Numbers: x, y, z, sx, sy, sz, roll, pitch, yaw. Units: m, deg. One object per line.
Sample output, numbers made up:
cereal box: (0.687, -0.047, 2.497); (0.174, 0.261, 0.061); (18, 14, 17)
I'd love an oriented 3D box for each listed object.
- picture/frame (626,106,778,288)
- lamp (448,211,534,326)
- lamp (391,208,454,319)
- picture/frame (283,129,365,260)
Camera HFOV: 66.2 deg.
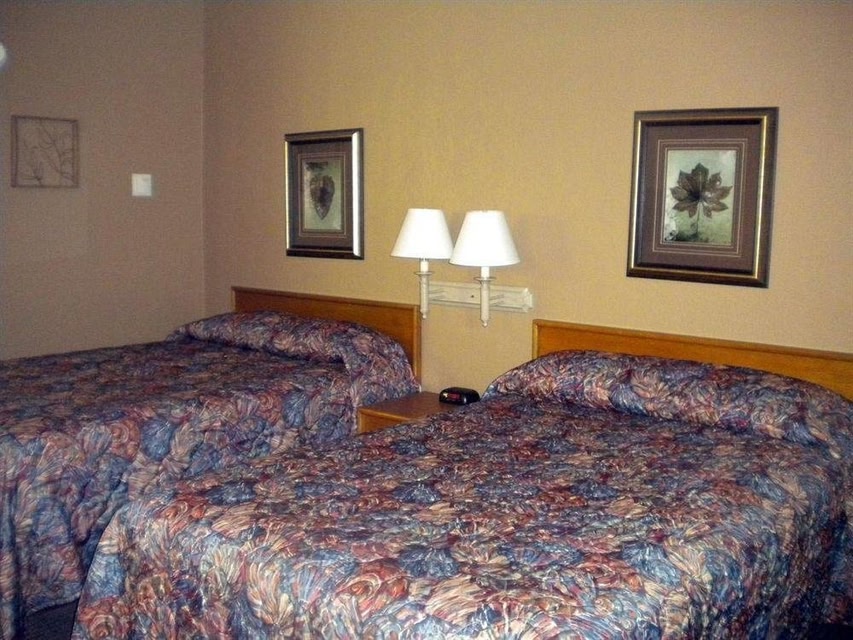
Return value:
picture/frame: (1.536, -0.690, 3.576); (0.929, 1.241, 0.089); (6, 9, 34)
lamp: (0.408, -0.301, 4.040); (0.358, 0.736, 0.486); (6, 14, 30)
lamp: (-0.026, -0.534, 4.381); (0.429, 0.431, 0.763); (-14, -30, -6)
picture/frame: (-0.753, -0.979, 4.978); (0.986, 1.107, 0.118); (3, 6, 39)
